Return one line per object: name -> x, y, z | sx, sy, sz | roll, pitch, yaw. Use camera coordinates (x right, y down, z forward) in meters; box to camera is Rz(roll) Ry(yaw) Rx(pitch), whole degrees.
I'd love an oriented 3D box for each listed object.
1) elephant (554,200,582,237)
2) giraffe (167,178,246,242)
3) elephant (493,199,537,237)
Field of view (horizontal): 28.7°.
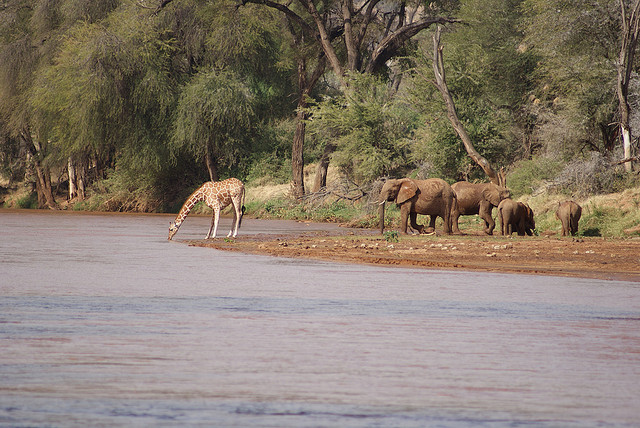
elephant -> 11.989, 0.224, 60.516 | 1.122, 1.768, 1.668 | 1, -3, 9
giraffe -> -5.179, -0.188, 58.112 | 3.223, 2.960, 2.555 | 2, -3, -10
elephant -> 9.499, 0.251, 60.810 | 1.144, 1.797, 2.984 | 1, -4, 38
